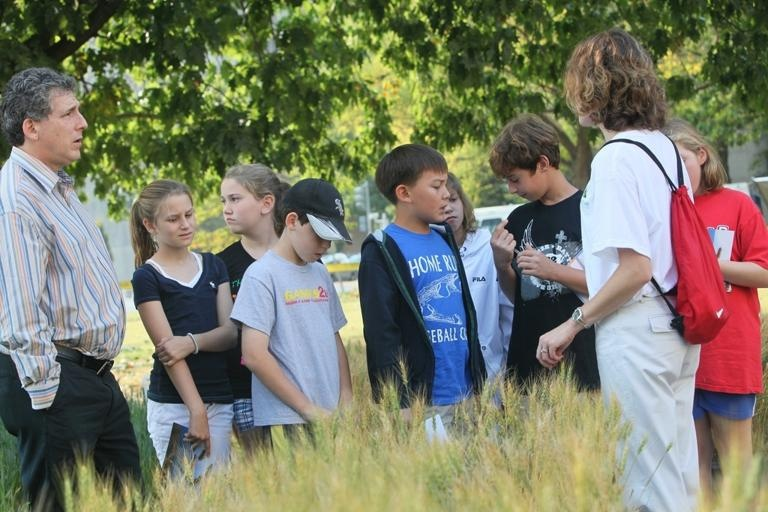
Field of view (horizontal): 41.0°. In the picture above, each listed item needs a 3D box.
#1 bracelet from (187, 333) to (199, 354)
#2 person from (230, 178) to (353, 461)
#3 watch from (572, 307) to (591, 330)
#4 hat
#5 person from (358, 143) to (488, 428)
[{"bbox_3d":[-1.347,0.621,7.332,0.044,0.129,0.105,-19,7,-12],"label":"bracelet"},{"bbox_3d":[-0.631,0.373,7.098,0.827,1.755,0.555,-5,-6,-10],"label":"person"},{"bbox_3d":[1.269,0.402,6.575,0.106,0.071,0.112,40,0,-27],"label":"watch"},{"bbox_3d":[-0.426,-0.366,7.186,0.616,0.358,0.407,26,10,23],"label":"hat"},{"bbox_3d":[0.248,0.163,7.077,0.846,1.994,0.497,-6,-6,-7],"label":"person"}]
